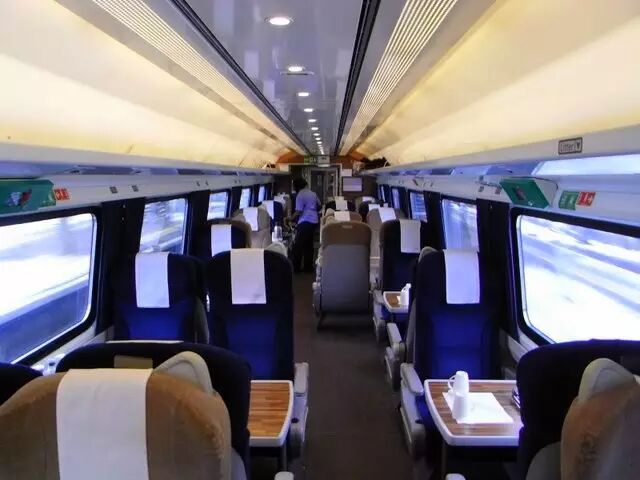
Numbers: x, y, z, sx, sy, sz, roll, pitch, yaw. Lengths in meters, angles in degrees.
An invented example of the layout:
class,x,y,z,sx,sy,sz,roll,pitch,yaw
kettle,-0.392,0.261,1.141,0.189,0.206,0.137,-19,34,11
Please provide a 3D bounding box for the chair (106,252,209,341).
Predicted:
class,x,y,z,sx,sy,sz,roll,pitch,yaw
chair,-1.455,0.395,4.126,0.744,1.014,0.897,2,26,-19

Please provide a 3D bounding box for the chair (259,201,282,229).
class,x,y,z,sx,sy,sz,roll,pitch,yaw
chair,-1.173,-0.679,11.239,0.464,0.767,0.608,0,-6,0

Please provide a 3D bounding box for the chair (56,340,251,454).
class,x,y,z,sx,sy,sz,roll,pitch,yaw
chair,-0.652,0.591,1.972,0.549,0.584,0.553,1,-4,1

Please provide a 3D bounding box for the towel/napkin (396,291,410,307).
class,x,y,z,sx,sy,sz,roll,pitch,yaw
towel/napkin,0.994,0.710,5.271,0.135,0.250,0.131,3,5,29

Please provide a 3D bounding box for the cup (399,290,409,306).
class,x,y,z,sx,sy,sz,roll,pitch,yaw
cup,0.998,0.707,5.251,0.128,0.241,0.133,1,-7,0

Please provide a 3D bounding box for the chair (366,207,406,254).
class,x,y,z,sx,sy,sz,roll,pitch,yaw
chair,1.185,-0.221,8.588,0.620,0.994,0.798,1,0,2

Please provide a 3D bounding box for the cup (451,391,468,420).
class,x,y,z,sx,sy,sz,roll,pitch,yaw
cup,0.905,1.079,2.850,0.104,0.146,0.111,-1,10,0

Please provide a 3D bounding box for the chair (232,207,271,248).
class,x,y,z,sx,sy,sz,roll,pitch,yaw
chair,-1.136,-0.238,8.146,0.614,0.968,0.768,-1,0,-6
